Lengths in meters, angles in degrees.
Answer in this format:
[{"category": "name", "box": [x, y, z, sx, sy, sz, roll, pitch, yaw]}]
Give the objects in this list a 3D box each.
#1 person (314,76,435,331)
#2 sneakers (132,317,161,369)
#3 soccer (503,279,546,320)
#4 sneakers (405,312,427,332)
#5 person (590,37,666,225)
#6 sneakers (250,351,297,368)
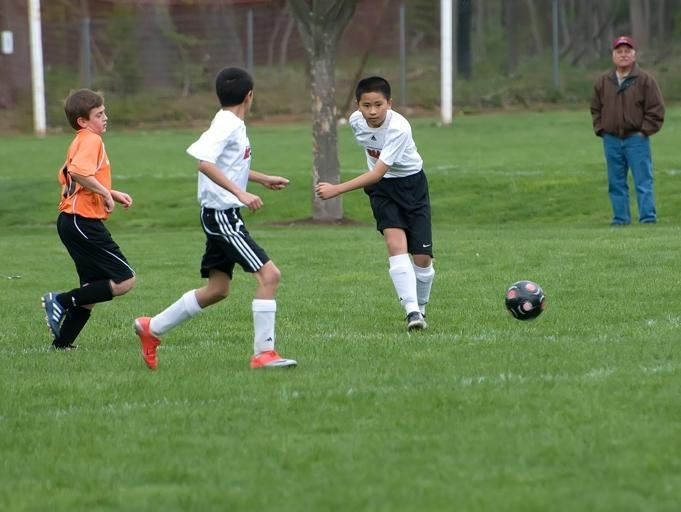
[{"category": "person", "box": [0.462, -0.566, 13.141, 0.875, 2.499, 1.055, -4, 7, 2]}, {"category": "sneakers", "box": [-1.781, 0.787, 12.246, 0.245, 0.535, 0.179, -10, 7, 10]}, {"category": "soccer", "box": [1.791, 0.418, 12.731, 0.373, 0.384, 0.370, -4, 7, 3]}, {"category": "sneakers", "box": [0.757, 0.634, 12.872, 0.200, 0.181, 0.182, -3, 8, 2]}, {"category": "person", "box": [3.619, -1.589, 16.377, 0.933, 2.318, 0.515, 0, 8, 28]}, {"category": "sneakers", "box": [-0.622, 0.937, 12.023, 0.341, 0.126, 0.180, -1, -3, 17]}]
